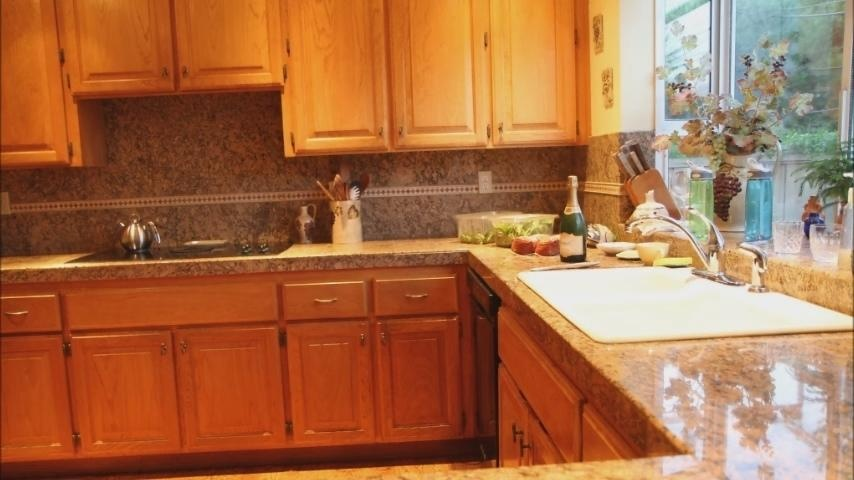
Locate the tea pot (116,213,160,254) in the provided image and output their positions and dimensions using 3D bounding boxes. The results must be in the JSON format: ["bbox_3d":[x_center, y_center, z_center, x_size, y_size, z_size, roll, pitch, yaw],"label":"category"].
[{"bbox_3d":[-1.893,-0.054,4.276,0.297,0.240,0.215,4,12,20],"label":"tea pot"}]

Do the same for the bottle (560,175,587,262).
[{"bbox_3d":[0.730,-0.104,3.380,0.134,0.422,0.252,-4,12,10],"label":"bottle"}]

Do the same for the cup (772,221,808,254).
[{"bbox_3d":[1.619,-0.008,2.974,0.152,0.145,0.143,-1,-3,0],"label":"cup"}]

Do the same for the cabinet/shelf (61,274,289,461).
[{"bbox_3d":[-1.390,0.759,4.148,1.427,1.022,0.693,-7,-4,12],"label":"cabinet/shelf"}]

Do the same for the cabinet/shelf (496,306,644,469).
[{"bbox_3d":[0.563,0.557,2.533,0.329,0.649,0.800,1,-1,-3],"label":"cabinet/shelf"}]

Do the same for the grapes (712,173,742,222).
[{"bbox_3d":[1.452,-0.251,3.209,0.092,0.150,0.093,-15,19,4],"label":"grapes"}]

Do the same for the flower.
[{"bbox_3d":[1.485,-0.528,3.160,0.452,0.446,0.388,19,4,-6],"label":"flower"}]

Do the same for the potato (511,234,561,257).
[{"bbox_3d":[0.603,0.025,3.647,0.225,0.105,0.303,-8,11,-15],"label":"potato"}]

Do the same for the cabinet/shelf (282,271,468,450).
[{"bbox_3d":[-0.349,0.666,3.902,1.150,0.892,0.424,-1,2,-4],"label":"cabinet/shelf"}]

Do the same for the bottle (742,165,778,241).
[{"bbox_3d":[1.547,-0.171,3.084,0.113,0.353,0.122,-6,12,1],"label":"bottle"}]

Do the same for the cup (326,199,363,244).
[{"bbox_3d":[-0.536,-0.117,4.218,0.270,0.272,0.253,-1,7,0],"label":"cup"}]

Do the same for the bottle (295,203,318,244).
[{"bbox_3d":[-0.798,-0.109,4.346,0.141,0.249,0.234,-8,12,-10],"label":"bottle"}]

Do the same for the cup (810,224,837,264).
[{"bbox_3d":[1.669,0.016,2.776,0.095,0.154,0.118,-3,12,14],"label":"cup"}]
